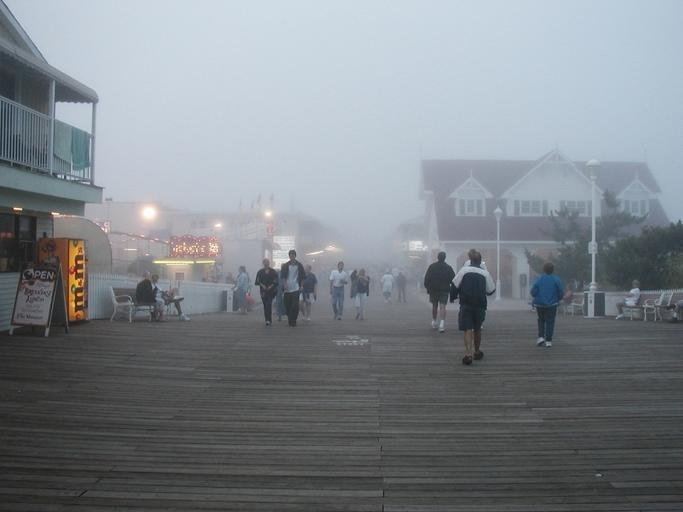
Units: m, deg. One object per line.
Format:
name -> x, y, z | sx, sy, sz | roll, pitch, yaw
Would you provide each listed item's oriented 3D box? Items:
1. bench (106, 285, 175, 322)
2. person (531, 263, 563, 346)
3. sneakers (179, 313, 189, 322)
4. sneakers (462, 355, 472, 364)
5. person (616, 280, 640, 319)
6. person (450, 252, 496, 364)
bench -> -6.131, 1.372, 21.262 | 1.214, 1.134, 2.500 | -1, 6, -16
person -> 4.300, 0.983, 15.485 | 0.593, 1.747, 0.595 | 2, 2, 13
sneakers -> -4.694, 1.822, 21.753 | 0.426, 0.207, 0.149 | -5, -2, 45
sneakers -> 2.217, 1.814, 13.044 | 0.153, 0.175, 0.184 | 1, 6, 6
person -> 9.238, 1.334, 23.711 | 0.677, 1.327, 2.129 | 3, 6, 22
person -> 2.371, 0.924, 13.514 | 0.765, 2.066, 1.321 | 1, 6, 9
